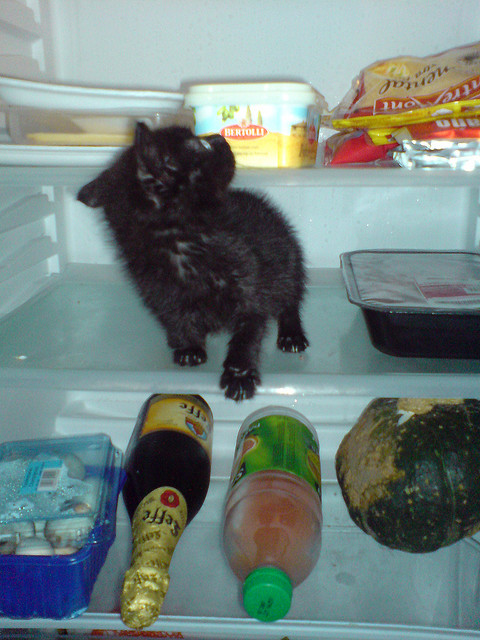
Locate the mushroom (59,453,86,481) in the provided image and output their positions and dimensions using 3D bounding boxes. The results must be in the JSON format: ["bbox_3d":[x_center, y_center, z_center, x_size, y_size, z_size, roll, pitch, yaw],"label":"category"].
[{"bbox_3d":[-0.257,0.229,0.847,0.035,0.033,0.033,-1,21,-17],"label":"mushroom"}]

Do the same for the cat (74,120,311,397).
[{"bbox_3d":[-0.009,-0.123,0.801,0.271,0.328,0.314,17,31,35],"label":"cat"}]

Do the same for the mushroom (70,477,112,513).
[{"bbox_3d":[-0.218,0.262,0.808,0.037,0.045,0.078,0,25,5],"label":"mushroom"}]

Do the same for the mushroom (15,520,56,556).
[{"bbox_3d":[-0.268,0.290,0.722,0.049,0.023,0.040,-3,25,-3],"label":"mushroom"}]

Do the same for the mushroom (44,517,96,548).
[{"bbox_3d":[-0.229,0.288,0.736,0.047,0.013,0.035,4,24,-8],"label":"mushroom"}]

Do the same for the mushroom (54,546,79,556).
[{"bbox_3d":[-0.230,0.306,0.720,0.027,0.007,0.013,-6,25,-9],"label":"mushroom"}]
